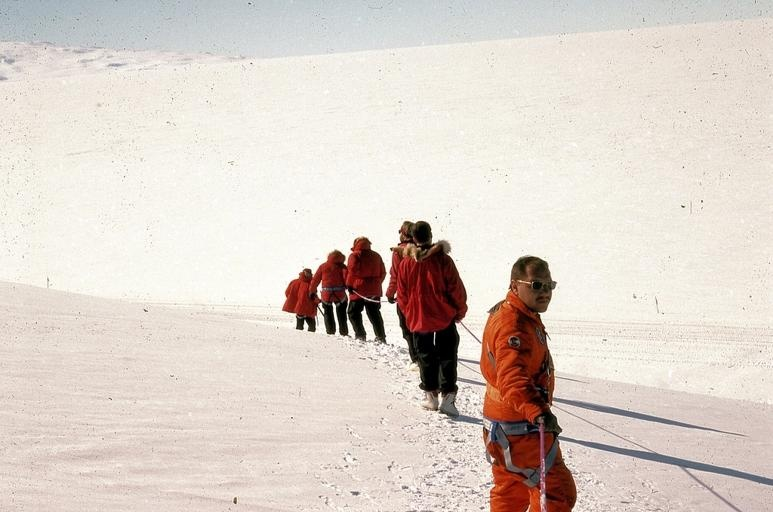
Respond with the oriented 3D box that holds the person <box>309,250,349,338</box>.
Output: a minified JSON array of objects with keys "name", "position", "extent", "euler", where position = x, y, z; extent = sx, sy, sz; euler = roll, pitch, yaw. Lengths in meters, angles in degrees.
[{"name":"person","position":[-1.709,1.358,31.867],"extent":[1.149,3.003,1.483],"euler":[-8,27,-3]}]

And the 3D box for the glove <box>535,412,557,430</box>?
[{"name":"glove","position":[3.725,3.867,23.489],"extent":[0.551,0.436,0.248],"euler":[-11,27,-8]}]

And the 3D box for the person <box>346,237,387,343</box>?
[{"name":"person","position":[-0.670,1.103,30.449],"extent":[1.140,3.320,1.177],"euler":[4,29,20]}]

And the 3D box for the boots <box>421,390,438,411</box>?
[{"name":"boots","position":[1.190,3.899,27.214],"extent":[0.305,0.541,0.580],"euler":[-2,12,-17]}]
